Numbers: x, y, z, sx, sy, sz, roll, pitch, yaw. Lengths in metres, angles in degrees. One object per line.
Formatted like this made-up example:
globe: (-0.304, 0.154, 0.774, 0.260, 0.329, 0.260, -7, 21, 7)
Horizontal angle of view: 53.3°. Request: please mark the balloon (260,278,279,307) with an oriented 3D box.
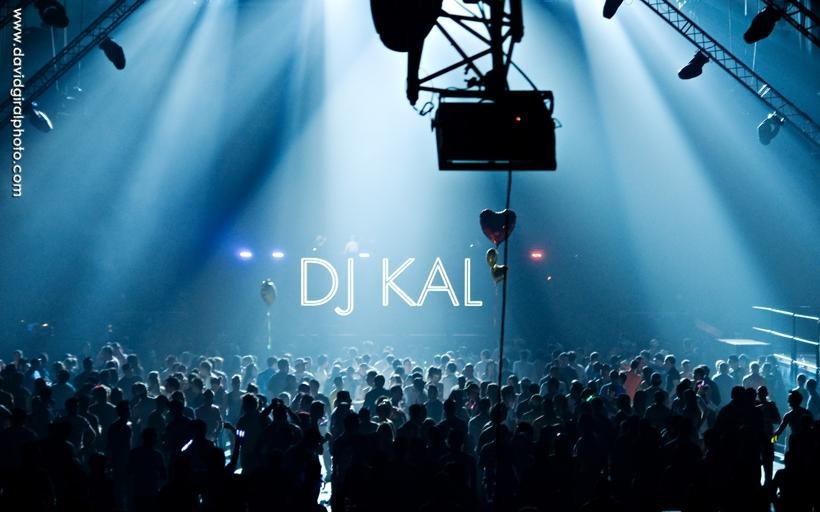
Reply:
balloon: (-4.627, 1.173, 26.799, 0.397, 0.919, 1.071, 2, -18, -5)
